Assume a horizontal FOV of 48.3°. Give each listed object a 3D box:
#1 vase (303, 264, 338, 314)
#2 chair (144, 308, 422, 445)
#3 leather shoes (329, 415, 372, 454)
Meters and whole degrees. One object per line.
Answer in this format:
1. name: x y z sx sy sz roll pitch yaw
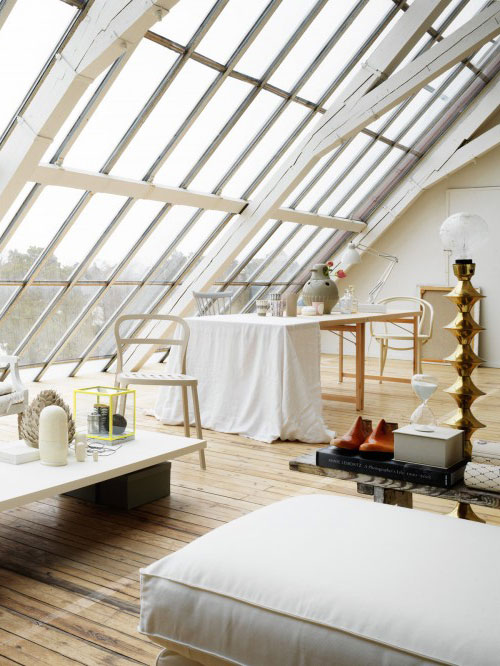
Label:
1. vase: 0.563 -0.364 4.456 0.301 0.360 0.298 4 14 29
2. chair: 0.009 0.307 3.670 1.207 0.584 0.818 2 1 34
3. leather shoes: 0.303 0.303 1.631 0.060 0.070 0.176 1 0 34
